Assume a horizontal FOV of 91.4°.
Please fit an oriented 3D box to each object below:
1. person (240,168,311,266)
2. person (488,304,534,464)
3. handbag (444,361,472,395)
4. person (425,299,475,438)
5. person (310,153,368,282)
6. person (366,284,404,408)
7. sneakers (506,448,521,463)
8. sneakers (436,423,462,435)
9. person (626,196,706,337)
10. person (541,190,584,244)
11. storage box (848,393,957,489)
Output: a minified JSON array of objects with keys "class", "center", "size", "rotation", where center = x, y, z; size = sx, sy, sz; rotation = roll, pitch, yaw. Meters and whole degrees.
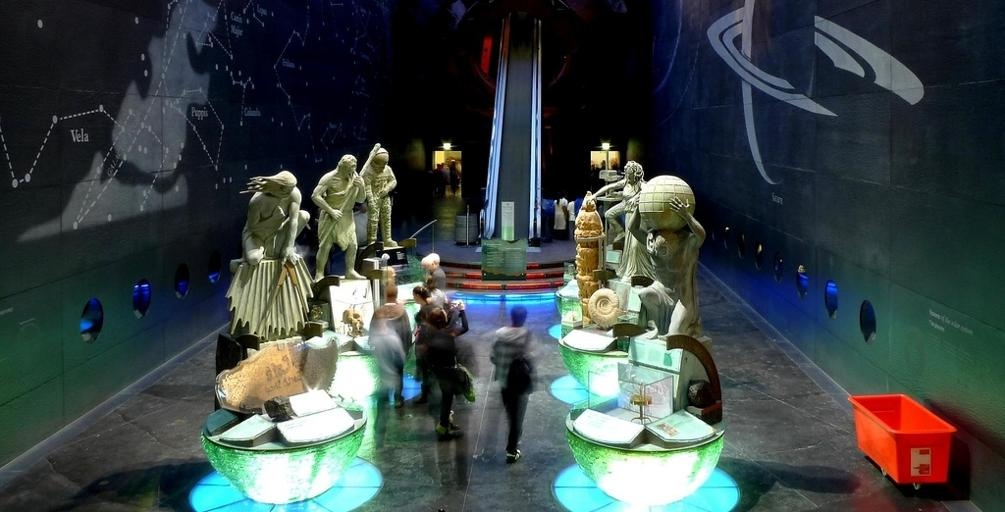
[{"class":"person","center":[-3.476,-0.585,7.484],"size":[0.954,1.330,0.387],"rotation":[-9,13,-26]},{"class":"person","center":[0.169,1.875,7.042],"size":[0.582,2.250,0.484],"rotation":[-3,12,1]},{"class":"handbag","center":[-0.628,1.846,7.451],"size":[0.446,0.179,0.624],"rotation":[-7,22,17]},{"class":"person","center":[-0.849,1.723,7.598],"size":[0.659,2.172,1.073],"rotation":[-5,12,-6]},{"class":"person","center":[-3.380,-0.753,10.222],"size":[1.119,2.571,0.811],"rotation":[0,10,-22]},{"class":"person","center":[-1.816,1.541,8.020],"size":[0.637,2.082,0.326],"rotation":[-5,12,-8]},{"class":"sneakers","center":[0.160,2.927,7.163],"size":[0.110,0.184,0.297],"rotation":[6,13,26]},{"class":"sneakers","center":[-0.840,2.722,7.685],"size":[0.289,0.102,0.203],"rotation":[0,1,-4]},{"class":"person","center":[2.341,0.157,7.001],"size":[0.887,1.978,0.622],"rotation":[0,12,18]},{"class":"person","center":[2.091,-1.398,18.691],"size":[1.334,1.569,1.144],"rotation":[-3,12,4]},{"class":"storage box","center":[5.507,2.500,6.875],"size":[0.888,0.556,1.216],"rotation":[-7,5,20]}]
